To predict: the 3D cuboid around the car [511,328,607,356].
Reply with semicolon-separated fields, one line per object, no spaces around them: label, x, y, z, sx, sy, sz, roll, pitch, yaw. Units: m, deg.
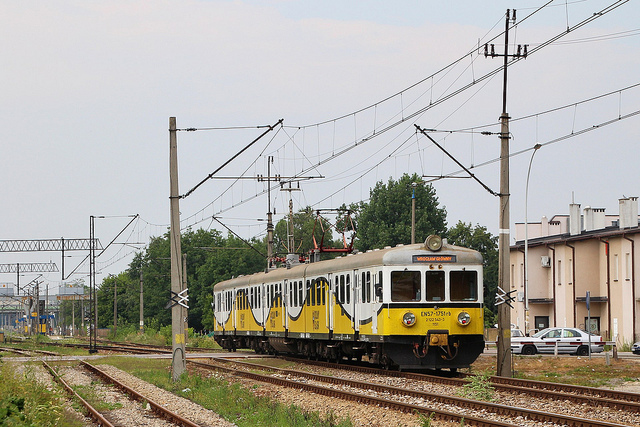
car;13.591;7.498;58.184;4.259;1.470;2.063;2;-5;0
